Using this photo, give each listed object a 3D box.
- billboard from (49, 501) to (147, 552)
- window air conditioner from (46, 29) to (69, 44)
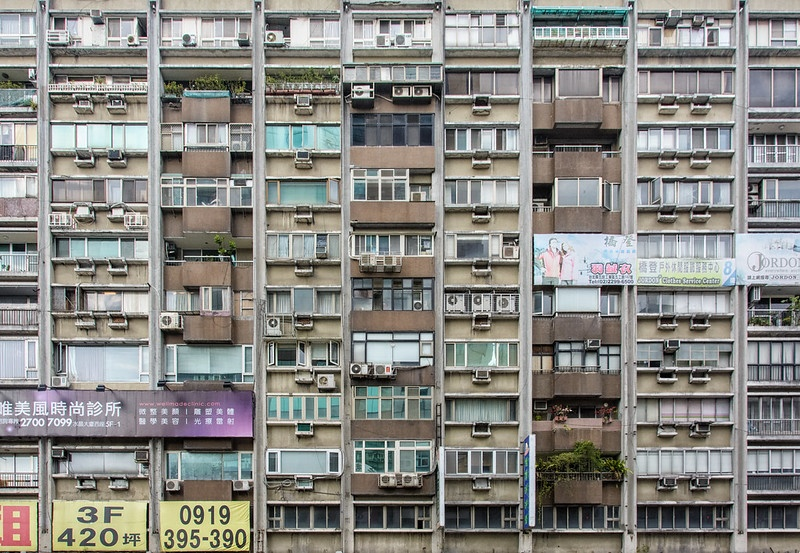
[{"bbox_3d":[-17.790,14.143,155.440,5.354,2.232,2.068,3,42,-5],"label":"billboard"},{"bbox_3d":[-20.457,-13.418,157.178,1.327,0.848,0.690,1,86,-7],"label":"window air conditioner"}]
